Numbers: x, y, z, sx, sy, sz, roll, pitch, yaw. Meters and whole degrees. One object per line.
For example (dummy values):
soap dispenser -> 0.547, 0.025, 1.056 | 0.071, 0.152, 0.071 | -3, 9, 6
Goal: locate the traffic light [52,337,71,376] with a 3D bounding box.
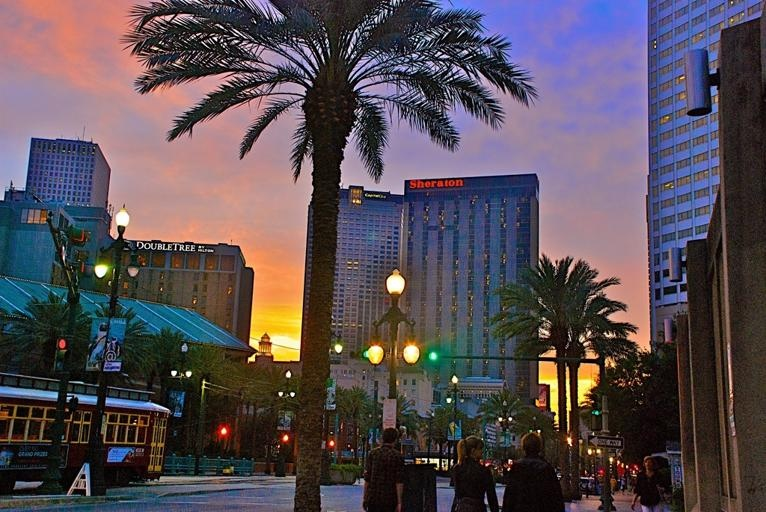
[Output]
traffic light -> -12.316, 3.823, 25.522 | 0.521, 1.316, 1.267 | 10, -19, -24

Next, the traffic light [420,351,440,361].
traffic light -> 2.090, 4.203, 27.906 | 0.503, 0.499, 0.722 | 6, -18, -14

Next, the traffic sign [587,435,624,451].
traffic sign -> 8.382, 6.922, 24.820 | 1.057, 0.492, 1.732 | -6, -19, 22
